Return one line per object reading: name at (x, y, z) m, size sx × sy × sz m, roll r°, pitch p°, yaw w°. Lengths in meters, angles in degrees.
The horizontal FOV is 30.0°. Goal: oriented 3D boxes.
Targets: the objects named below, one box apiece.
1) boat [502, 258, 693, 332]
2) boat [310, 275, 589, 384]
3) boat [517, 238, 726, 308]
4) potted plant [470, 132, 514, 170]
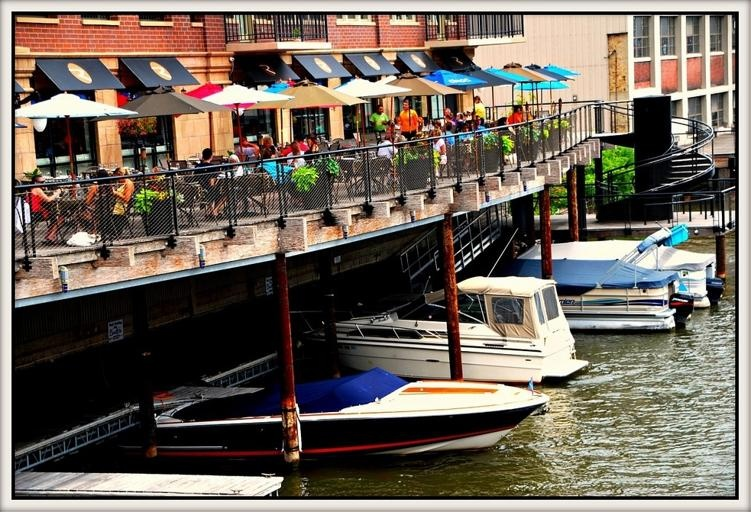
boat at (7.224, 1.307, 44.026) m, size 4.083 × 1.465 × 2.469 m, roll 2°, pitch 4°, yaw 19°
boat at (1.259, 2.171, 41.069) m, size 8.989 × 3.121 × 2.644 m, roll -3°, pitch 7°, yaw 20°
boat at (8.651, 1.014, 45.481) m, size 4.416 × 1.397 × 2.985 m, roll -2°, pitch 5°, yaw 23°
potted plant at (3.317, -2.960, 41.070) m, size 1.279 × 0.876 × 1.321 m, roll 3°, pitch 9°, yaw 31°
